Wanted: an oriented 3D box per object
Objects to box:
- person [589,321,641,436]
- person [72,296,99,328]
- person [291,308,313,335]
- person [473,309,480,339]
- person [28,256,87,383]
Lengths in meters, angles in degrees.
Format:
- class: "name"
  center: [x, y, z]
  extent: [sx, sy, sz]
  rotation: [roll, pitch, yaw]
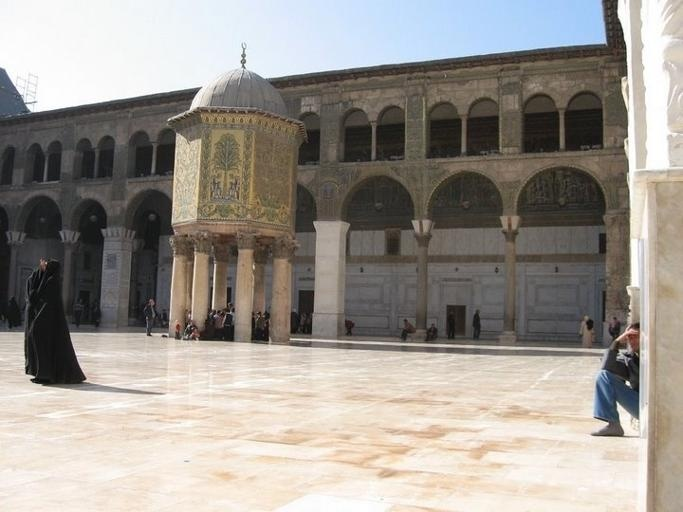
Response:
- class: "person"
  center: [2.527, 1.139, 6.226]
  extent: [0.426, 1.006, 0.720]
  rotation: [-2, -6, 22]
- class: "person"
  center: [-11.699, 2.604, 30.740]
  extent: [1.367, 1.532, 0.511]
  rotation: [0, 5, 0]
- class: "person"
  center: [-1.742, 2.945, 29.302]
  extent: [0.816, 1.496, 1.554]
  rotation: [0, -6, 18]
- class: "person"
  center: [5.606, 2.838, 28.005]
  extent: [0.342, 1.220, 1.098]
  rotation: [-1, -5, 9]
- class: "person"
  center: [-3.523, 0.827, 8.363]
  extent: [0.603, 1.541, 0.289]
  rotation: [2, -6, -23]
